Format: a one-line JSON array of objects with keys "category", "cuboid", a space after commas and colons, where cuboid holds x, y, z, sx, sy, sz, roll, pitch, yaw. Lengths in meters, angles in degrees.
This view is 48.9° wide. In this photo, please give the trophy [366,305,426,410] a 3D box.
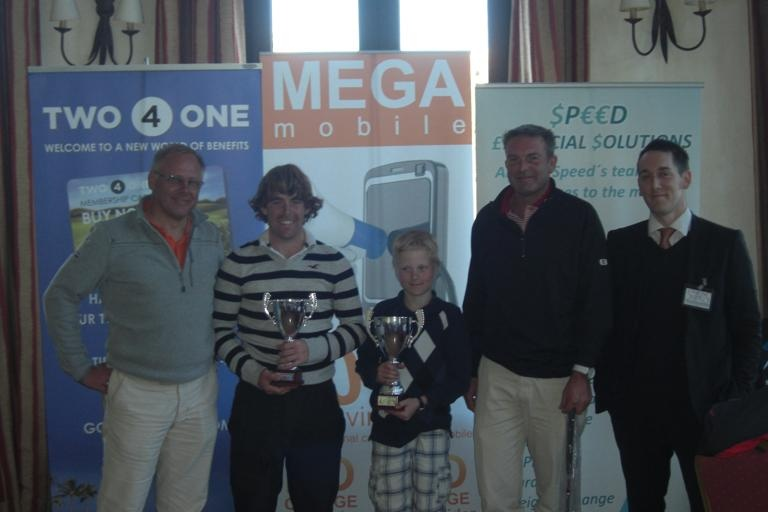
[{"category": "trophy", "cuboid": [0.066, 0.608, 5.045, 0.326, 0.572, 0.219, 1, -2, 0]}]

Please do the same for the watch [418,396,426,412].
[{"category": "watch", "cuboid": [0.226, 0.866, 4.963, 0.046, 0.083, 0.029, -3, 5, -15]}]

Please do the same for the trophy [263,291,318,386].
[{"category": "trophy", "cuboid": [-0.569, 0.494, 5.017, 0.251, 0.594, 0.238, 3, 1, -35]}]
